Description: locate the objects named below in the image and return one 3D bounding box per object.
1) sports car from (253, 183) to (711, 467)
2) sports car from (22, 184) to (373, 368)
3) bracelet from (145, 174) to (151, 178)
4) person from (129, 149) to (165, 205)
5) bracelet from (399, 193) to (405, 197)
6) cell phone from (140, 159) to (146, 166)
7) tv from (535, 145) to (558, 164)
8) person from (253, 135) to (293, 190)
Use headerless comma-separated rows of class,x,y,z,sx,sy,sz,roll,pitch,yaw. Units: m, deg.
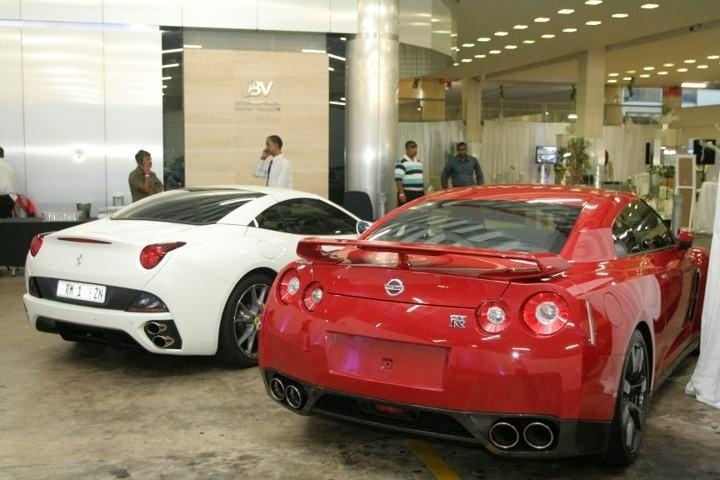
sports car,1.260,0.277,3.820,1.588,0.981,3.005,4,9,33
sports car,-1.180,0.236,5.368,1.680,0.991,3.192,5,9,35
bracelet,-4.265,-1.289,10.383,0.069,0.085,0.151,3,8,19
person,-4.415,-1.204,10.613,0.653,1.267,0.790,0,21,-16
bracelet,0.930,-0.998,11.360,0.081,0.078,0.083,6,12,34
cell phone,-4.335,-1.553,10.308,0.092,0.096,0.038,-3,-6,38
tv,9.982,-4.620,27.644,1.213,1.010,0.870,6,10,39
person,-1.533,-1.192,9.303,0.590,1.358,0.843,-2,9,-37
